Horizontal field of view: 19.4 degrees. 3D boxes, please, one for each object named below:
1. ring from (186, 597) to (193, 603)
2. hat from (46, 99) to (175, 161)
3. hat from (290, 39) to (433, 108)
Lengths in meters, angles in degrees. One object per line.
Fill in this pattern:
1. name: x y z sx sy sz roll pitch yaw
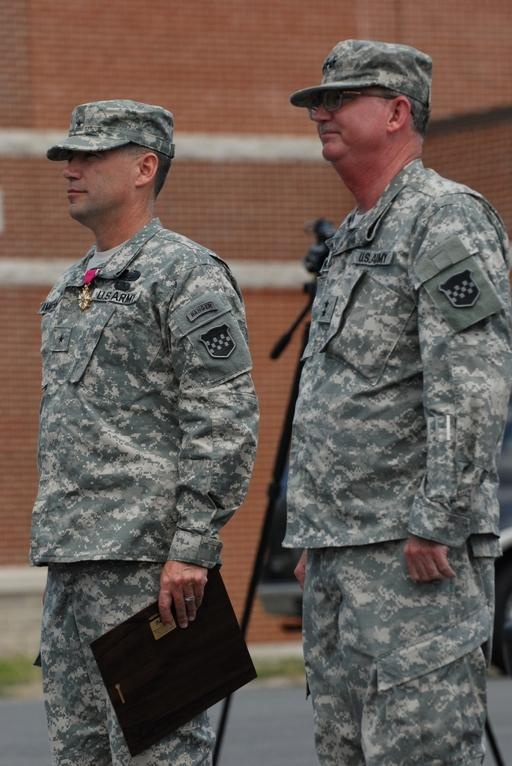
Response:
1. ring: -0.179 0.604 4.178 0.015 0.007 0.019 0 4 -1
2. hat: -0.425 -0.768 4.563 0.386 0.178 0.286 -10 12 -31
3. hat: 0.320 -0.878 4.294 0.383 0.177 0.277 -4 1 -1
